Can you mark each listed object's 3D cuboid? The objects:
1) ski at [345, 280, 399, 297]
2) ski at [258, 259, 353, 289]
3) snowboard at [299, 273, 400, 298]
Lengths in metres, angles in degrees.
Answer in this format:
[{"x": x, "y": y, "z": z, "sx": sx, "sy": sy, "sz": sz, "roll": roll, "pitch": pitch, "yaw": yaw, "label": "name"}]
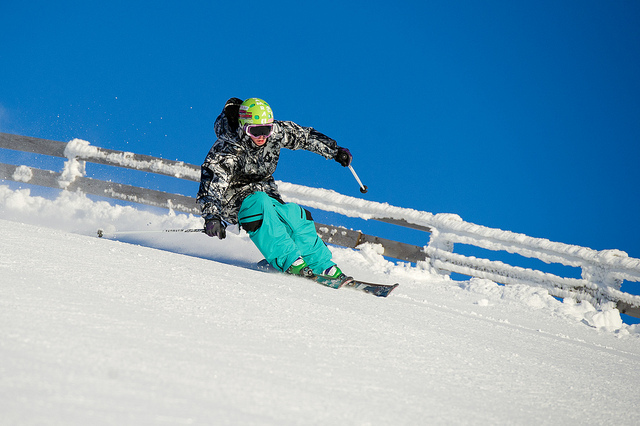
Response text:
[{"x": 0.482, "y": 0.649, "z": 8.697, "sx": 0.529, "sy": 0.151, "sz": 0.083, "roll": 1, "pitch": -49, "yaw": 35, "label": "ski"}, {"x": -0.135, "y": 0.533, "z": 8.756, "sx": 0.750, "sy": 0.099, "sz": 0.148, "roll": 9, "pitch": 17, "yaw": 27, "label": "ski"}, {"x": 0.258, "y": 0.628, "z": 8.662, "sx": 1.239, "sy": 0.125, "sz": 0.132, "roll": 1, "pitch": -38, "yaw": 37, "label": "snowboard"}]
